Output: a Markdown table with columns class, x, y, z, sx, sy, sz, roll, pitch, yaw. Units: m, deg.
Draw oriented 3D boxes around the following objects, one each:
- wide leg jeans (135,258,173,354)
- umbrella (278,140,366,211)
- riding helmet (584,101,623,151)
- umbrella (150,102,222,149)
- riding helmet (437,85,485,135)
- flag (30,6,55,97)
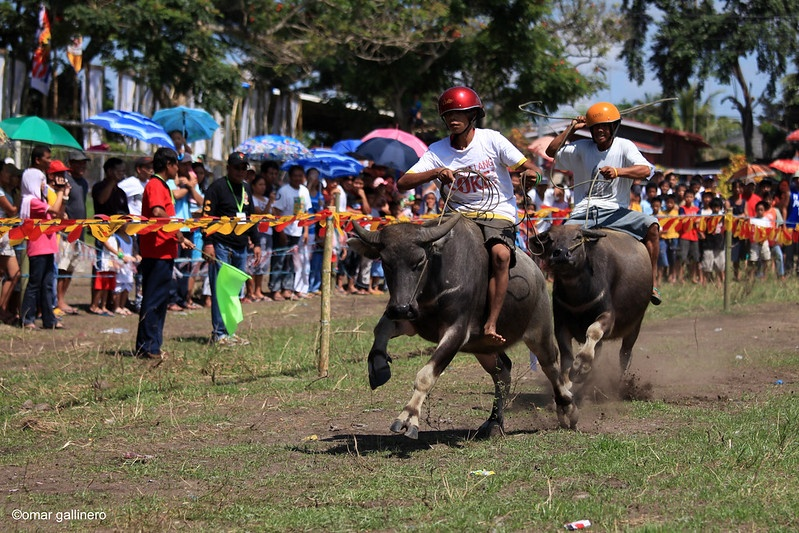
| class | x | y | z | sx | sy | sz | roll | pitch | yaw |
| --- | --- | --- | --- | --- | --- | --- | --- | --- | --- |
| wide leg jeans | -4.170 | 0.561 | 24.644 | 0.535 | 1.928 | 0.619 | 3 | -19 | -14 |
| umbrella | -1.472 | -2.132 | 30.956 | 1.582 | 1.284 | 1.519 | 4 | -33 | -10 |
| riding helmet | 3.335 | -2.258 | 23.144 | 0.569 | 0.739 | 0.464 | 1 | -1 | 6 |
| umbrella | -4.536 | -3.107 | 30.561 | 0.956 | 0.877 | 0.910 | 3 | -47 | -10 |
| riding helmet | 0.953 | -2.458 | 21.807 | 0.639 | 0.490 | 0.553 | 16 | -13 | -34 |
| flag | -7.555 | -4.568 | 30.122 | 0.423 | 1.183 | 1.474 | 1 | 0 | -14 |
